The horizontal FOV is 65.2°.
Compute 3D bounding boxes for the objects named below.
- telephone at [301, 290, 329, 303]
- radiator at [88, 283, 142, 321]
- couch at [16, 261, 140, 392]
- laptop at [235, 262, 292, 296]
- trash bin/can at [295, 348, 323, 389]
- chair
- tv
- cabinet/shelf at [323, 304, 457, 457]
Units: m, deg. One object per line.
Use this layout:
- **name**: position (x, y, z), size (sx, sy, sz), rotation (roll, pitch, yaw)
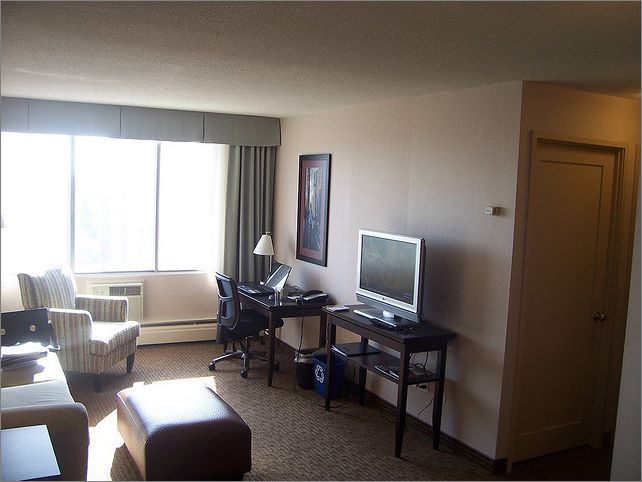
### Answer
- **telephone**: position (-0.067, 0.633, 5.651), size (0.187, 0.060, 0.140), rotation (-7, 4, -29)
- **radiator**: position (-2.547, 0.802, 6.294), size (0.577, 0.570, 0.217), rotation (3, -19, -28)
- **couch**: position (-2.556, 0.865, 5.761), size (1.204, 1.667, 1.156), rotation (2, 8, 9)
- **laptop**: position (-0.648, 0.495, 6.057), size (0.407, 0.308, 0.478), rotation (5, 1, -28)
- **trash bin/can**: position (-0.170, 1.361, 5.482), size (0.346, 0.394, 0.380), rotation (0, 2, -17)
- **chair**: position (-0.848, 0.921, 5.848), size (0.713, 1.142, 0.776), rotation (1, 2, -3)
- **tv**: position (0.647, 0.339, 4.546), size (0.136, 0.751, 0.793), rotation (-1, 5, -23)
- **cabinet/shelf**: position (0.558, 1.243, 4.660), size (0.508, 1.070, 1.210), rotation (0, 5, -31)
